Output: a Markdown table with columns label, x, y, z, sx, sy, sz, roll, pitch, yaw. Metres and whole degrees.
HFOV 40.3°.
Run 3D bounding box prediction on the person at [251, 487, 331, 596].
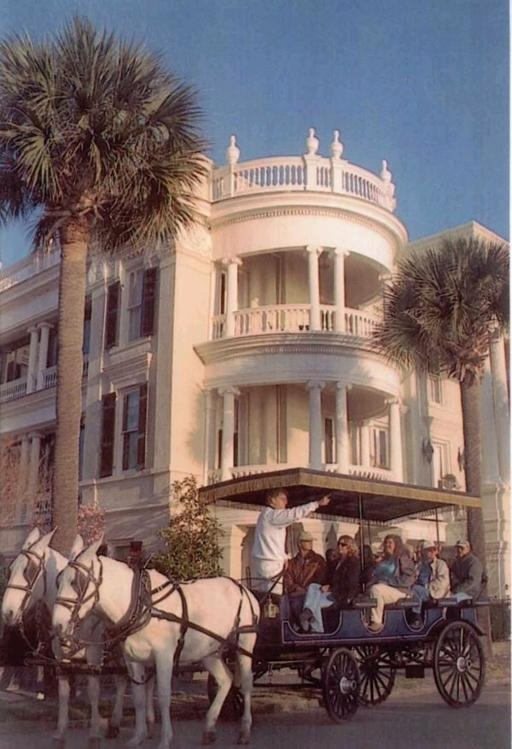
| label | x | y | z | sx | sy | sz | roll | pitch | yaw |
| --- | --- | --- | --- | --- | --- | --- | --- | --- | --- |
| person | 0.237 | 1.767 | 7.396 | 0.577 | 1.076 | 1.017 | 1 | -14 | -3 |

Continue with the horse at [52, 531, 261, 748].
| label | x | y | z | sx | sy | sz | roll | pitch | yaw |
| --- | --- | --- | --- | --- | --- | --- | --- | --- | --- |
| horse | -0.782 | 2.292 | 5.812 | 0.540 | 1.761 | 2.281 | -8 | -17 | 31 |
